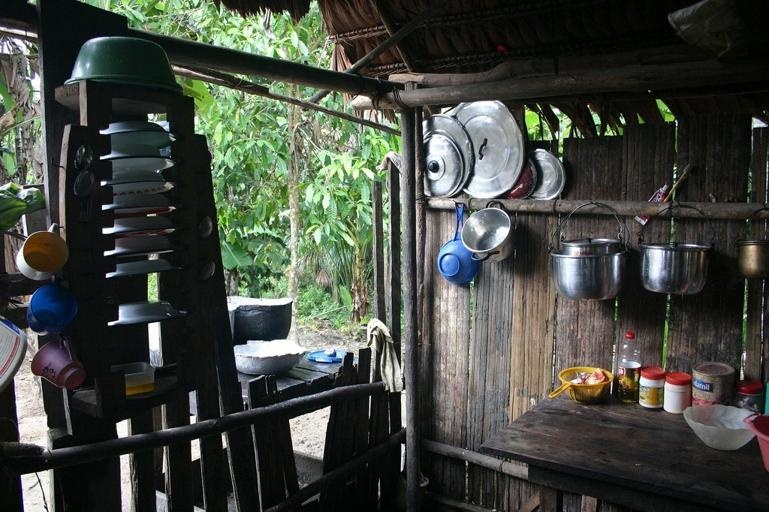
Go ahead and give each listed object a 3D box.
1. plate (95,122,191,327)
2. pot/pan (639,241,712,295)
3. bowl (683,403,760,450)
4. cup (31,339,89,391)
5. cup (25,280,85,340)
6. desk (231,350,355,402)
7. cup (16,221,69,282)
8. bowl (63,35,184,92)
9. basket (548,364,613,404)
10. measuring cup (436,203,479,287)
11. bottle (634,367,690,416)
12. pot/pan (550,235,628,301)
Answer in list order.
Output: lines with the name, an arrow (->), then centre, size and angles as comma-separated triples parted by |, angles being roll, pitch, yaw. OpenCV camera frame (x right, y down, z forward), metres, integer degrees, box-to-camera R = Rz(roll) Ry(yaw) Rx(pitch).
plate -> -1.082, -0.153, 2.849 | 0.336, 0.951, 0.380 | 0, 0, -19
pot/pan -> 1.645, 0.067, 3.592 | 0.354, 0.278, 0.206 | 0, 0, 22
bowl -> 1.785, 0.895, 3.373 | 0.277, 0.113, 0.284 | -2, 4, 0
cup -> -1.391, 0.444, 2.690 | 0.253, 0.209, 0.107 | 0, 0, 33
cup -> -1.372, 0.211, 2.622 | 0.195, 0.222, 0.110 | 0, 0, -13
desk -> -0.519, 0.778, 4.078 | 0.748, 0.248, 0.765 | 3, 5, 31
cup -> -1.434, -0.021, 2.647 | 0.169, 0.239, 0.253 | 0, 0, -34
bowl -> -1.097, -0.819, 2.694 | 0.421, 0.205, 0.100 | 0, 0, -19
basket -> 1.220, 0.742, 3.864 | 0.354, 0.184, 0.425 | 5, 10, 20
measuring cup -> 0.506, -0.082, 4.312 | 0.125, 0.534, 0.292 | -5, 12, -41
bottle -> 1.613, 0.718, 3.662 | 0.331, 0.281, 0.209 | 0, -5, 23
pot/pan -> 1.253, 0.073, 3.830 | 0.377, 0.378, 0.425 | 0, 0, 33
